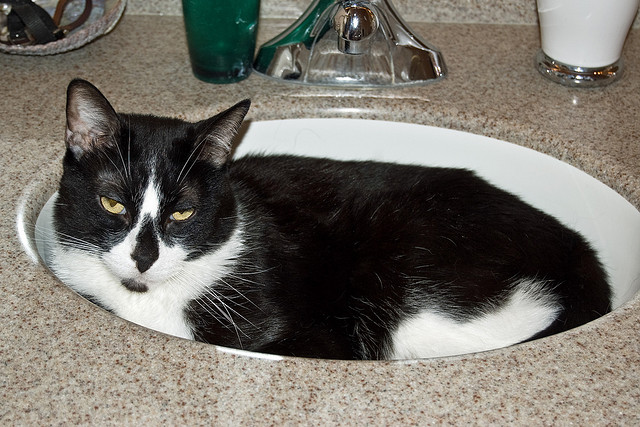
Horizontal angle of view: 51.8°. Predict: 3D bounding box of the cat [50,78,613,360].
[{"bbox_3d":[-0.018,-0.034,1.401,0.913,0.636,0.406,1,86,-27],"label":"cat"}]
